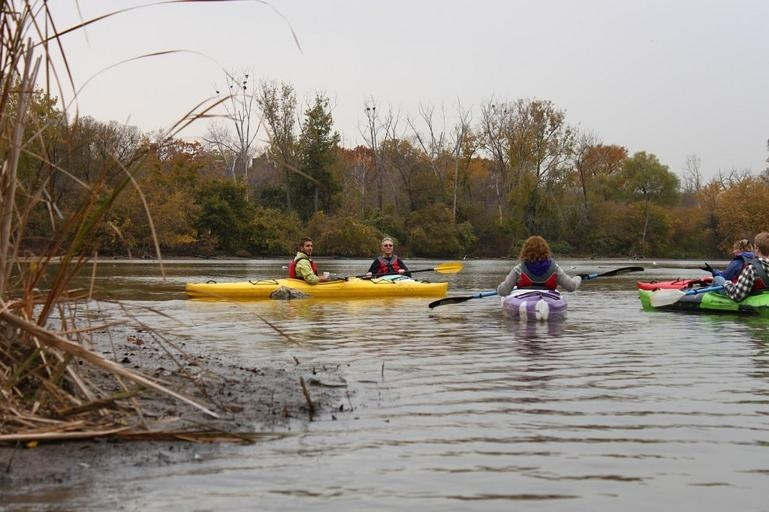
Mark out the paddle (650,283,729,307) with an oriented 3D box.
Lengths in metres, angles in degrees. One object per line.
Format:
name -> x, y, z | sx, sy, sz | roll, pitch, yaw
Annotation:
paddle -> 5.206, 0.676, 16.164 | 0.104, 0.320, 1.233 | 25, -27, -36

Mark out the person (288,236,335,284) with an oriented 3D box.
person -> -1.539, 0.077, 18.873 | 1.048, 1.099, 0.863 | -3, 13, -15

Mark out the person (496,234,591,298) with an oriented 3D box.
person -> 2.404, 0.170, 14.396 | 1.231, 1.037, 0.862 | 0, 8, -6
